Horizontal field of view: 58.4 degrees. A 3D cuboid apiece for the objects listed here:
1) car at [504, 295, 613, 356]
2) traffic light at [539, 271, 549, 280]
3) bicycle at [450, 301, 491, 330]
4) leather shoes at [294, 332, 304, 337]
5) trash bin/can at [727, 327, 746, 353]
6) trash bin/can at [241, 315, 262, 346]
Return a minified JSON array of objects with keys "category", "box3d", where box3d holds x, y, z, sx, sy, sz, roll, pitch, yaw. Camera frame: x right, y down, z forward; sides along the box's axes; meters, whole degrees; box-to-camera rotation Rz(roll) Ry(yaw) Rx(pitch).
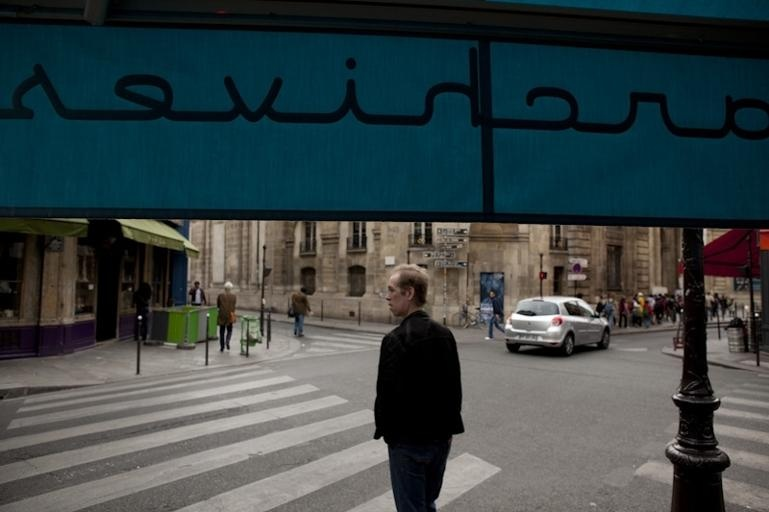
[{"category":"car","box3d":[4.935,1.802,19.217,1.427,1.183,2.661,-1,0,44]},{"category":"traffic light","box3d":[6.789,0.801,29.433,0.414,0.326,0.430,-2,-5,27]},{"category":"bicycle","box3d":[3.831,2.575,29.912,1.550,1.064,0.822,0,-4,11]},{"category":"leather shoes","box3d":[-2.885,2.675,23.591,0.319,0.146,0.106,-3,4,-45]},{"category":"trash bin/can","box3d":[10.082,2.364,19.681,0.419,0.725,0.414,0,-3,24]},{"category":"trash bin/can","box3d":[-3.623,2.013,18.559,0.490,0.833,1.768,2,-3,-11]}]
